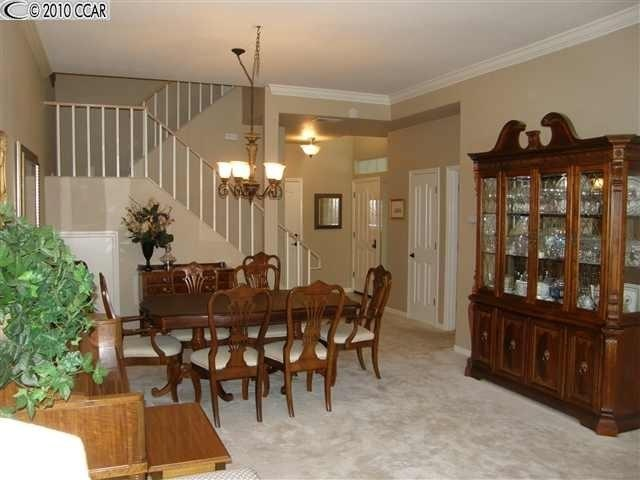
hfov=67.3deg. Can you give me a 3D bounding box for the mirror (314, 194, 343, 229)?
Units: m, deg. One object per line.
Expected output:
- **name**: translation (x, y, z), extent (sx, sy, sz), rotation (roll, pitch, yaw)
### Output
- **mirror**: translation (0.135, -0.611, 10.065), extent (0.702, 0.852, 0.061), rotation (-1, 2, -21)

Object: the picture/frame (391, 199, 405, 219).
- **picture/frame**: translation (1.340, -0.532, 8.278), extent (0.027, 0.362, 0.351), rotation (1, -4, -30)

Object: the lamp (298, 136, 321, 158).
- **lamp**: translation (-0.204, -1.766, 9.155), extent (0.392, 0.397, 0.411), rotation (4, 9, 23)
